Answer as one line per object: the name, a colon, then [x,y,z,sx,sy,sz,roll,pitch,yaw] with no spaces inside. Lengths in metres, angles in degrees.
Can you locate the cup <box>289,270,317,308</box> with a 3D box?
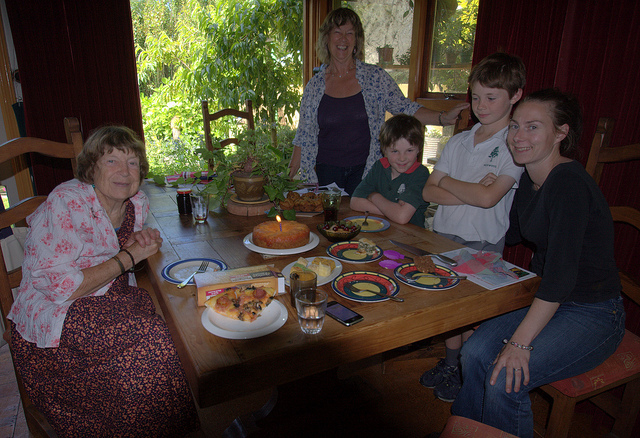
cup: [-0.070,0.289,1.674,0.120,0.139,0.121,0,9,0]

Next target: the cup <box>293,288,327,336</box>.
cup: [-0.039,0.349,1.613,0.146,0.166,0.150,-1,8,0]

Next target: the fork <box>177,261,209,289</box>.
fork: [-0.559,0.239,1.848,0.037,0.035,0.233,-2,29,16]

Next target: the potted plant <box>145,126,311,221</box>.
potted plant: [-0.515,-0.279,2.607,0.832,0.395,0.664,-11,-5,35]

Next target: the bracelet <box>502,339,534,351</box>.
bracelet: [0.898,0.572,1.881,0.080,0.017,0.065,19,3,27]

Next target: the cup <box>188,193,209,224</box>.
cup: [-0.706,-0.067,2.464,0.128,0.183,0.126,-5,2,0]

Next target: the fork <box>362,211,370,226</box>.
fork: [0.259,-0.003,2.329,0.032,0.083,0.013,7,14,-8]

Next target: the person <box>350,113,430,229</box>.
person: [0.467,-0.220,2.737,0.501,0.853,0.478,10,23,24]

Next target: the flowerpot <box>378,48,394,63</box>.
flowerpot: [0.684,-1.695,4.251,0.139,0.106,0.139,-6,33,-6]

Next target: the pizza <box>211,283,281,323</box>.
pizza: [-0.296,0.335,1.666,0.284,0.097,0.143,-7,24,-13]

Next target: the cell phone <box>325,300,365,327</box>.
cell phone: [0.098,0.383,1.655,0.103,0.023,0.185,-17,34,-36]

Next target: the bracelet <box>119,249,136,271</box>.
bracelet: [-0.921,0.193,1.970,0.018,0.079,0.077,-25,-6,-15]
